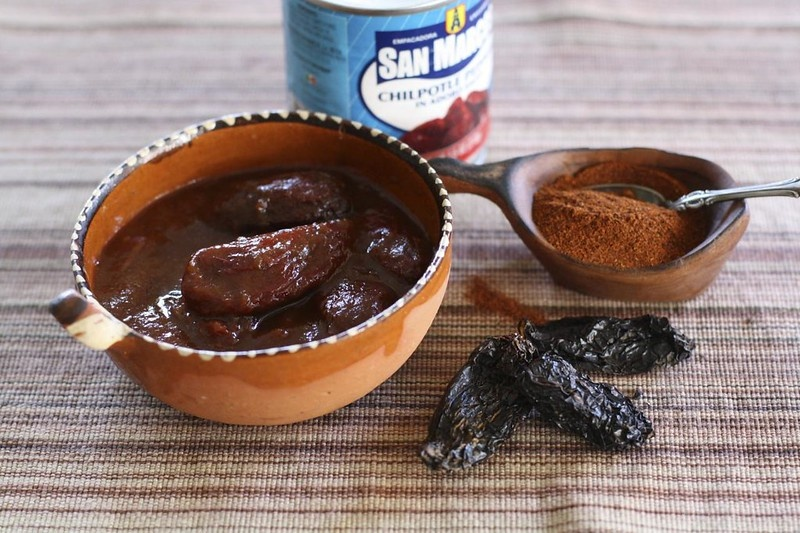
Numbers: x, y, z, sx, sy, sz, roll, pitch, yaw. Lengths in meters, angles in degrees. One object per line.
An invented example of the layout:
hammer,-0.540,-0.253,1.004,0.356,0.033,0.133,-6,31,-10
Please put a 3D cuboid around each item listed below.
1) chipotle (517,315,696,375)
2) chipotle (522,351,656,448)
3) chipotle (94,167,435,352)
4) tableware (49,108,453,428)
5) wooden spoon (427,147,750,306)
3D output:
chipotle,0.441,0.164,2.034,0.331,0.097,0.141,-3,47,-3
chipotle,0.375,0.276,1.953,0.287,0.104,0.177,32,37,6
chipotle,-0.284,-0.002,1.969,0.547,0.144,0.402,7,44,5
tableware,-0.282,-0.030,1.950,0.728,0.241,0.666,13,56,4
wooden spoon,0.409,-0.094,2.138,0.646,0.183,0.358,8,50,13
